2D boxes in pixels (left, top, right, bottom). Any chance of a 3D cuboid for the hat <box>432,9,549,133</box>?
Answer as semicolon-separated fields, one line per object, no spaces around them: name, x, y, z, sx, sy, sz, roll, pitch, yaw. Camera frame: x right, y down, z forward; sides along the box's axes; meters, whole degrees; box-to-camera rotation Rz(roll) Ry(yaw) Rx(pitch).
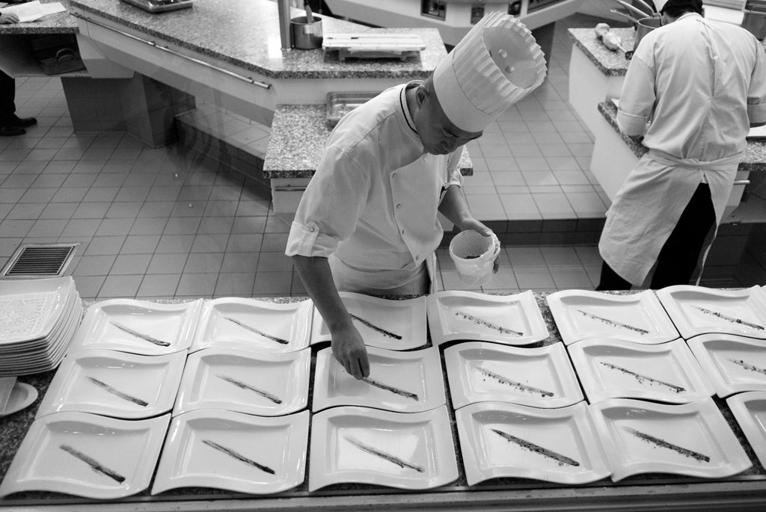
hat;0.329;-0.581;1.720;0.326;0.340;0.170;-5;38;-12

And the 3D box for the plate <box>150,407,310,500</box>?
plate;-0.468;0.617;1.700;0.449;0.106;0.244;3;37;-2

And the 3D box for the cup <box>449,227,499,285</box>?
cup;0.351;0.015;2.098;0.179;0.164;0.218;3;57;11

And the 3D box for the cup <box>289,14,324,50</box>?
cup;-0.494;-1.415;3.448;0.210;0.163;0.222;1;52;-1
